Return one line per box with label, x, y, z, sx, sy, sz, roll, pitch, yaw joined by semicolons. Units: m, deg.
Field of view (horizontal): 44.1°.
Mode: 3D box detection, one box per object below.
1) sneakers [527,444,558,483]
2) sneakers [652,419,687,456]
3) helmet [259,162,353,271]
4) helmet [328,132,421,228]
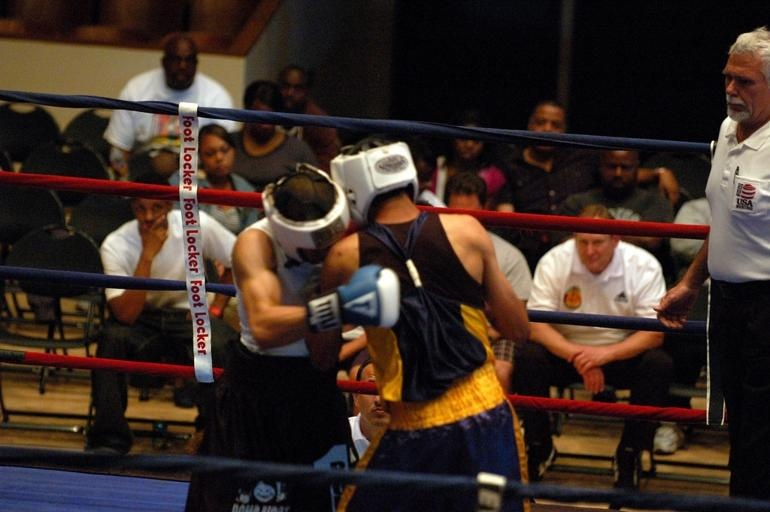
sneakers;0.763;0.989;4.538;0.143;0.156;0.065;4;13;-20
sneakers;1.440;0.917;4.758;0.110;0.119;0.315;1;-3;29
helmet;-0.307;-0.197;4.000;0.325;0.337;0.408;-37;39;-20
helmet;-0.033;-0.324;4.041;0.313;0.317;0.366;-5;-24;-39
